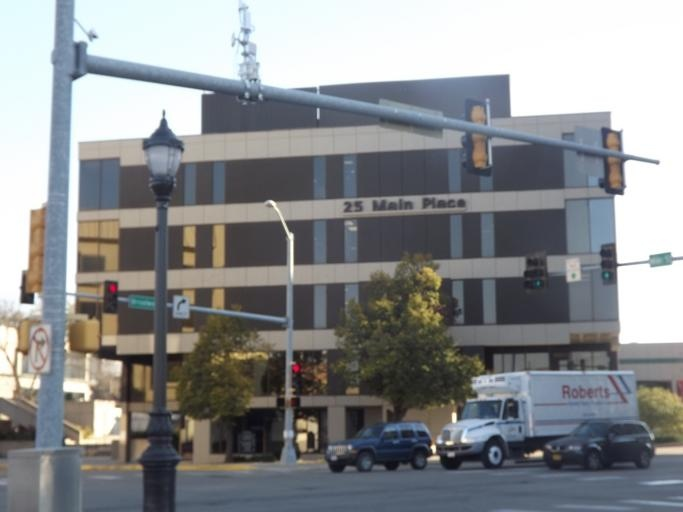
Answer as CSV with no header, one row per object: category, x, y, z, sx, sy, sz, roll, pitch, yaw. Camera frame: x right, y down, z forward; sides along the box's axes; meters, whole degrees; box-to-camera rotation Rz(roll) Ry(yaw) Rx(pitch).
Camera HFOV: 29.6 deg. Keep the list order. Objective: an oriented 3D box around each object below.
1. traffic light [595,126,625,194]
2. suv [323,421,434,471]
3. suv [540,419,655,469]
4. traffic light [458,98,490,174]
traffic light,10.012,-3.579,48.159,0.840,2.743,0.919,-5,-10,14
suv,1.918,9.241,61.329,4.968,2.320,1.537,2,-11,-26
suv,11.132,8.511,58.373,4.493,2.651,3.522,12,-19,-41
traffic light,4.777,-4.089,46.249,0.647,3.320,0.744,10,-15,-37
